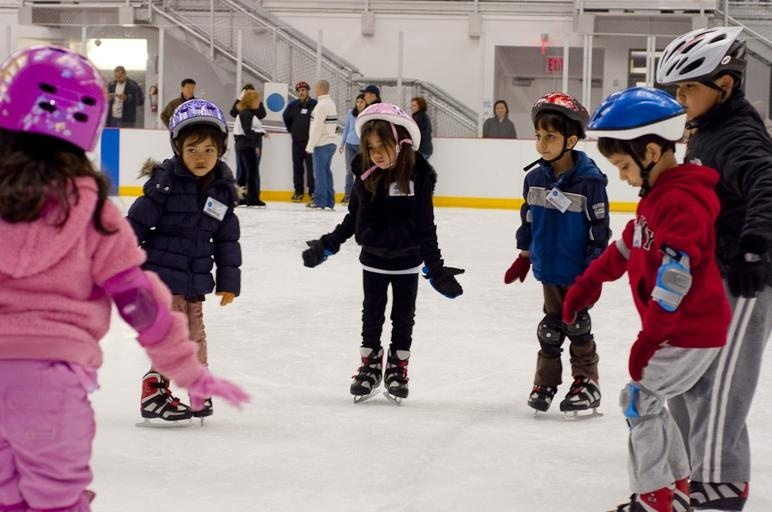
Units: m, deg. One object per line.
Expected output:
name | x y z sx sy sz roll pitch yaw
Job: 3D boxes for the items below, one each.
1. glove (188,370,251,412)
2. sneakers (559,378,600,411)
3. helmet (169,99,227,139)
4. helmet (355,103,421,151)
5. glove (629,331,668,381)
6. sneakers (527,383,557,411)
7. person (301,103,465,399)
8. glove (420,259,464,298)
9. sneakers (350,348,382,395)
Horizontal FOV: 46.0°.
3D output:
glove | -0.486 0.412 2.700 0.198 0.050 0.156 15 -35 -41
sneakers | 0.939 0.663 4.422 0.100 0.168 0.298 -14 -13 40
helmet | -0.839 -0.630 4.170 0.244 0.238 0.296 -4 -1 -21
helmet | 0.006 -0.649 4.531 0.293 0.231 0.252 0 10 -7
glove | 0.848 0.333 2.962 0.115 0.151 0.051 18 18 4
sneakers | 0.754 0.689 4.430 0.070 0.088 0.209 32 10 2
person | -0.013 -0.013 4.517 0.779 1.481 0.470 2 10 4
glove | 0.302 0.096 4.407 0.214 0.058 0.200 30 26 34
sneakers | -0.109 0.581 4.630 0.128 0.201 0.384 3 8 15
